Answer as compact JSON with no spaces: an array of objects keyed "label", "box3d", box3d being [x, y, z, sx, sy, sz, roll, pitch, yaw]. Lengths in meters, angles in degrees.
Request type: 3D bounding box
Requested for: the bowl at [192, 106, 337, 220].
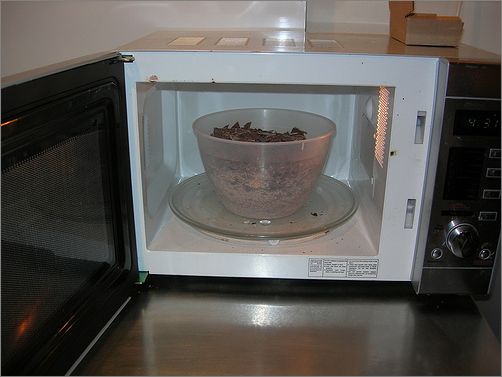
[{"label":"bowl","box3d":[0.027,-0.043,1.002,0.305,0.202,0.319,0,21,0]}]
